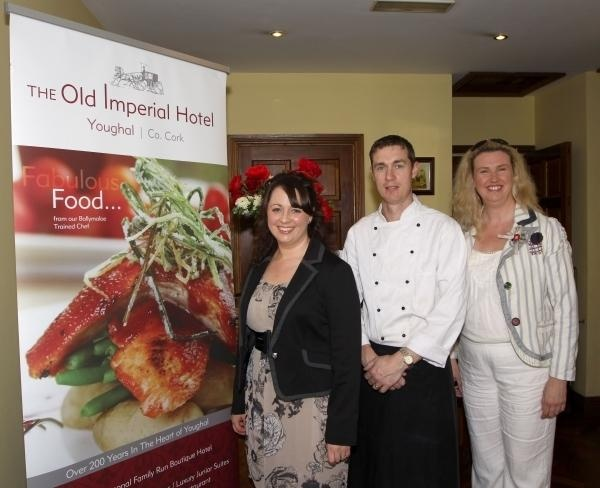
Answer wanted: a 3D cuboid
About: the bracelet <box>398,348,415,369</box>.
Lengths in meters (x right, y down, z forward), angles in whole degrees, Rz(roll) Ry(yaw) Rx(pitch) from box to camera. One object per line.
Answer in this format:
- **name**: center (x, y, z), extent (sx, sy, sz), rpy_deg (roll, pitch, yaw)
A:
- **bracelet**: center (0.478, 0.512, 2.077), extent (0.053, 0.085, 0.081), rpy_deg (-18, -14, -12)
